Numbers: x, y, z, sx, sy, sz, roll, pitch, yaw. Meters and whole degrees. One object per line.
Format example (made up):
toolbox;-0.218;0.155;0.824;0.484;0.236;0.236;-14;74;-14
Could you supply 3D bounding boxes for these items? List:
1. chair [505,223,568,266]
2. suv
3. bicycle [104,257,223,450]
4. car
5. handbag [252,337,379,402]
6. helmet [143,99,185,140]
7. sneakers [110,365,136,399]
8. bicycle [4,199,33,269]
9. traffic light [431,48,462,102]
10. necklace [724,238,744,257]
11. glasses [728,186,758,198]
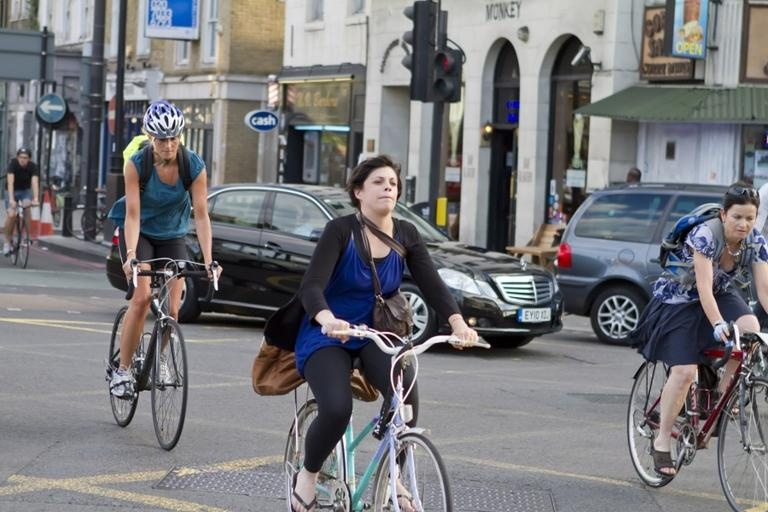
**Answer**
chair;3.178;0.009;20.022;1.091;1.392;0.960;0;6;-33
suv;3.638;-0.069;14.524;3.030;1.580;1.687;-4;-2;29
bicycle;-2.003;0.786;8.443;0.669;1.563;1.417;0;6;-21
car;-0.805;0.089;14.043;6.358;2.037;2.560;-1;0;25
handbag;-0.415;0.705;6.117;0.543;0.513;0.263;2;8;20
helmet;-1.858;-1.135;8.209;0.314;0.315;0.293;1;6;-14
sneakers;-2.315;1.131;8.650;0.145;0.162;0.359;1;-8;-24
bicycle;-7.457;-0.443;19.986;0.407;1.347;0.868;0;6;-22
traffic light;0.999;-2.882;15.533;0.434;0.884;0.322;2;6;1
necklace;2.623;-0.055;7.362;0.107;0.143;0.064;6;12;-5
glasses;2.654;-0.480;7.264;0.210;0.091;0.187;5;6;24
